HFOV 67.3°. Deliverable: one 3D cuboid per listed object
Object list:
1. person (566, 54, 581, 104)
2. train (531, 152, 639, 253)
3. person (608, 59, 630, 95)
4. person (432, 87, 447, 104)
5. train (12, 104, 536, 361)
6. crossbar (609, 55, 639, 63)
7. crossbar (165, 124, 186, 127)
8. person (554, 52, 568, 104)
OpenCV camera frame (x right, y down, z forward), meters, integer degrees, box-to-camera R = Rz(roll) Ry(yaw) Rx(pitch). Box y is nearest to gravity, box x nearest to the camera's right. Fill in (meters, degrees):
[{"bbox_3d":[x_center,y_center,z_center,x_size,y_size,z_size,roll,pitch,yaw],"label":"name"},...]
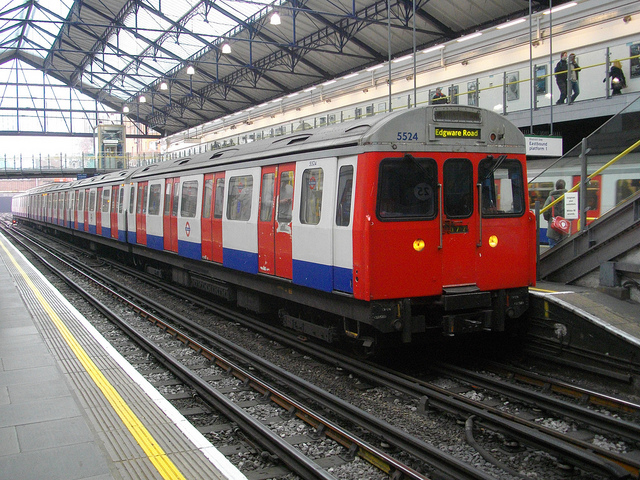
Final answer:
[{"bbox_3d":[8.122,-5.153,15.537,0.361,1.459,0.595,-2,3,-17],"label":"person"},{"bbox_3d":[5.609,-0.923,10.309,0.684,1.812,2.674,-2,4,-11],"label":"train"},{"bbox_3d":[8.739,-4.793,14.087,0.189,0.962,0.643,-2,3,-11],"label":"person"},{"bbox_3d":[4.771,-5.756,19.161,0.550,0.841,1.997,0,4,13],"label":"person"},{"bbox_3d":[-4.999,-0.516,17.896,3.623,4.444,25.638,-3,5,-37],"label":"train"},{"bbox_3d":[8.754,-5.186,13.822,0.093,0.124,0.830,-27,18,-16],"label":"crossbar"},{"bbox_3d":[-17.661,-13.961,58.893,2.603,0.216,0.252,3,26,-30],"label":"crossbar"},{"bbox_3d":[7.989,-5.287,15.847,0.303,1.555,0.740,0,3,16],"label":"person"}]
